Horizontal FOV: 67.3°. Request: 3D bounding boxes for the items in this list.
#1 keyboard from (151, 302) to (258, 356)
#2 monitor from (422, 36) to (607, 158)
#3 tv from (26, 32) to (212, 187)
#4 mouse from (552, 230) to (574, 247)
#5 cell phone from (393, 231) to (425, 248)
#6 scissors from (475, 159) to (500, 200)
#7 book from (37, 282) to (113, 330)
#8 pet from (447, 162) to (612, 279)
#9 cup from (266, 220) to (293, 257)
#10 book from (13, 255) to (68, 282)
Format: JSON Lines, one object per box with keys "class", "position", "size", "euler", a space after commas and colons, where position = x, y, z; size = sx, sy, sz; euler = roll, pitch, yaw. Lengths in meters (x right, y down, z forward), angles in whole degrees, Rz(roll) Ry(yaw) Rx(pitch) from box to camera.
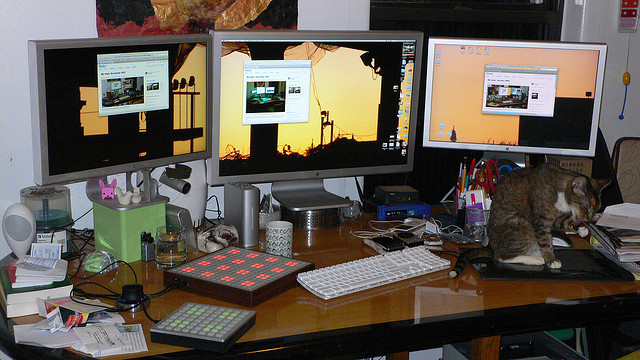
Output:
{"class": "keyboard", "position": [-0.408, 0.528, 1.721], "size": [0.341, 0.121, 0.165], "euler": [-1, 13, 8]}
{"class": "monitor", "position": [0.983, -0.423, 2.455], "size": [0.920, 0.628, 0.080], "euler": [-2, 14, 3]}
{"class": "tv", "position": [-0.825, -0.328, 2.083], "size": [0.080, 0.560, 0.857], "euler": [14, 18, 29]}
{"class": "mouse", "position": [1.138, 0.278, 2.289], "size": [0.122, 0.034, 0.074], "euler": [-1, 12, -11]}
{"class": "cell phone", "position": [0.416, 0.276, 2.234], "size": [0.087, 0.018, 0.083], "euler": [-1, 19, -30]}
{"class": "scissors", "position": [0.836, -0.003, 2.438], "size": [0.112, 0.183, 0.009], "euler": [-23, -28, 37]}
{"class": "book", "position": [-0.924, 0.445, 1.751], "size": [0.177, 0.037, 0.166], "euler": [17, 21, 17]}
{"class": "pet", "position": [0.887, 0.164, 2.133], "size": [0.809, 0.409, 0.397], "euler": [1, 2, -18]}
{"class": "cup", "position": [-0.182, 0.250, 2.157], "size": [0.156, 0.150, 0.145], "euler": [0, 10, 0]}
{"class": "book", "position": [-1.055, 0.343, 1.826], "size": [0.113, 0.024, 0.107], "euler": [10, 20, 4]}
